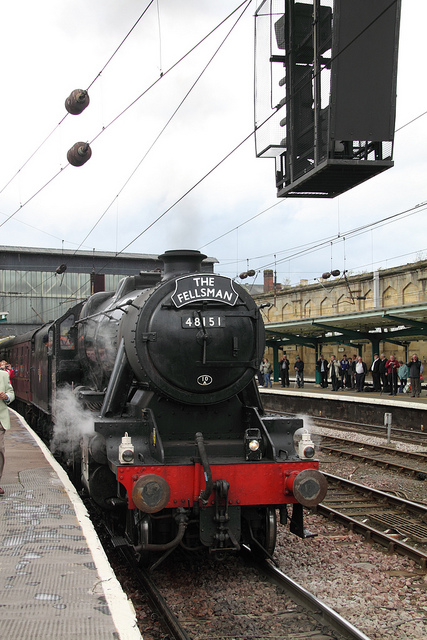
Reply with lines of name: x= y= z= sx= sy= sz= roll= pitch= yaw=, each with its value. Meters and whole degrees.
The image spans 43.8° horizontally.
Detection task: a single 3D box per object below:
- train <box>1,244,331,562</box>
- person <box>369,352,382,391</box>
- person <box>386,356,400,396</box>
train: x=-0.799 y=0.902 z=7.417 sx=2.280 sy=3.765 sz=5.361 roll=2 pitch=-7 yaw=-22
person: x=7.239 y=2.310 z=23.479 sx=0.417 sy=1.651 sz=0.837 roll=-2 pitch=-7 yaw=17
person: x=7.380 y=2.295 z=21.880 sx=0.452 sy=1.635 sz=1.035 roll=-2 pitch=-7 yaw=18
